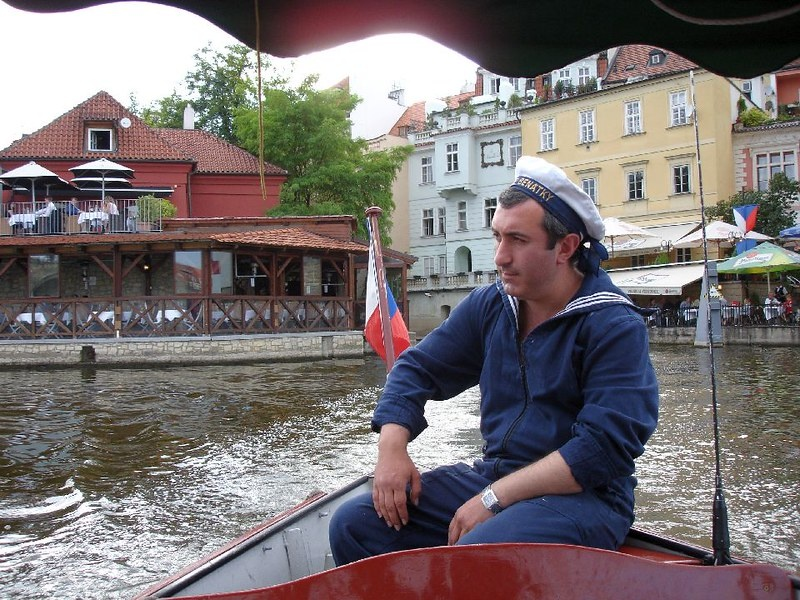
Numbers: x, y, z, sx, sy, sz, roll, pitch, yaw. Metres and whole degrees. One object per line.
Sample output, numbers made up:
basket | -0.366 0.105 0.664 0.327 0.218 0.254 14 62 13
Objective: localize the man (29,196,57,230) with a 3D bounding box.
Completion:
man | -9.852 -2.296 28.512 0.794 1.347 0.817 2 -2 -22

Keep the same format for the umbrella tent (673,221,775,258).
umbrella tent | 10.189 -1.901 32.229 2.938 1.227 2.928 1 -4 7

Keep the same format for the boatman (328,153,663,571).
boatman | 0.569 0.990 6.606 2.211 3.721 1.917 0 2 -5

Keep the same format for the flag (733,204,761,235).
flag | 10.803 -2.576 32.475 0.173 1.226 1.194 19 -18 -30

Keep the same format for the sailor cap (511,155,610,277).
sailor cap | 0.967 -0.603 6.706 0.690 0.258 0.626 35 -19 -4

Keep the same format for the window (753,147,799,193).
window | 13.443 -4.723 36.952 0.272 1.909 2.064 4 -3 -37

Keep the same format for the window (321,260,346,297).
window | -2.014 -0.635 30.486 0.929 0.916 0.225 1 -2 -39

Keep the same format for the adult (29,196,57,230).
adult | -9.985 -2.295 28.701 0.794 1.347 0.817 2 -2 -22

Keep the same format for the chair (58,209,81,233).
chair | -9.022 -2.143 28.078 0.595 0.798 0.611 -1 7 -14
